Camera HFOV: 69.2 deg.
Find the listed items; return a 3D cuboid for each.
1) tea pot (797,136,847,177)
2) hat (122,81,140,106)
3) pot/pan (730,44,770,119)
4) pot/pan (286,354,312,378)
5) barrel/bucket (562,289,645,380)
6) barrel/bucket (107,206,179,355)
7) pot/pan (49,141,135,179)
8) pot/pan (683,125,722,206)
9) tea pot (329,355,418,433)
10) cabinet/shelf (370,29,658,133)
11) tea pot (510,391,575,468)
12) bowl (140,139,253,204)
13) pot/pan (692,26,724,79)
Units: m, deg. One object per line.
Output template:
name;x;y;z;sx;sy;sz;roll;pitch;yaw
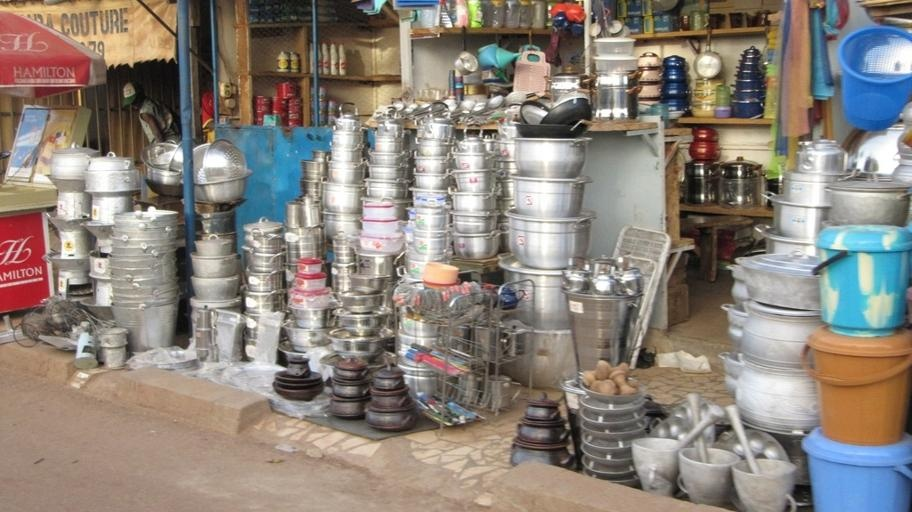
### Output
tea pot;2.704;-0.725;4.905;0.326;0.267;0.230;1;7;20
hat;-5.067;-2.500;10.267;0.245;0.315;0.453;-4;6;-23
pot/pan;3.779;-2.199;8.548;0.417;0.871;0.433;0;7;19
pot/pan;-1.380;0.962;5.767;0.253;0.104;0.193;1;-3;-5
barrel/bucket;1.501;0.594;5.428;0.920;0.570;0.714;1;2;27
barrel/bucket;-3.023;0.246;6.418;0.629;1.394;0.218;-4;8;-18
pot/pan;-3.737;-0.954;6.725;0.806;0.356;0.428;3;7;37
pot/pan;3.269;-1.198;8.837;0.452;1.032;0.521;1;7;19
tea pot;-0.677;1.154;5.386;0.837;0.348;0.410;5;9;41
cabinet/shelf;0.553;-1.845;7.235;3.059;0.726;2.105;9;16;34
tea pot;0.604;1.262;4.685;0.461;0.517;0.386;-1;7;3
bowl;-2.827;-0.872;6.987;1.302;0.425;0.752;10;15;35
pot/pan;3.441;-2.707;9.037;0.372;0.650;0.438;0;7;18
